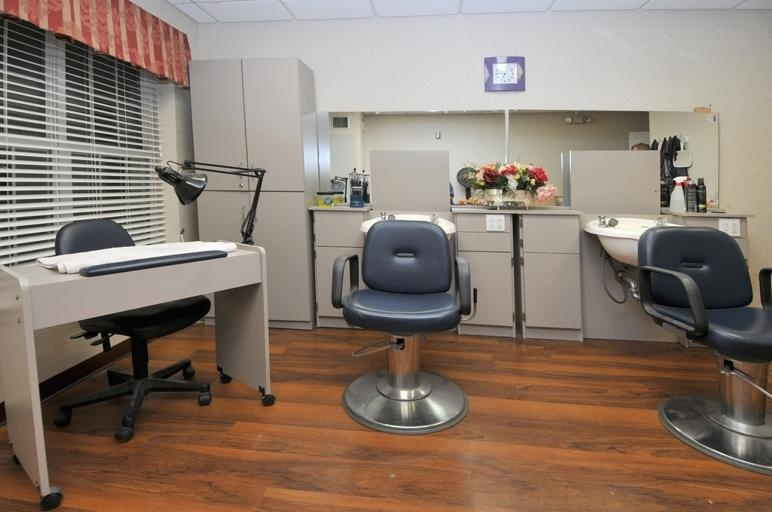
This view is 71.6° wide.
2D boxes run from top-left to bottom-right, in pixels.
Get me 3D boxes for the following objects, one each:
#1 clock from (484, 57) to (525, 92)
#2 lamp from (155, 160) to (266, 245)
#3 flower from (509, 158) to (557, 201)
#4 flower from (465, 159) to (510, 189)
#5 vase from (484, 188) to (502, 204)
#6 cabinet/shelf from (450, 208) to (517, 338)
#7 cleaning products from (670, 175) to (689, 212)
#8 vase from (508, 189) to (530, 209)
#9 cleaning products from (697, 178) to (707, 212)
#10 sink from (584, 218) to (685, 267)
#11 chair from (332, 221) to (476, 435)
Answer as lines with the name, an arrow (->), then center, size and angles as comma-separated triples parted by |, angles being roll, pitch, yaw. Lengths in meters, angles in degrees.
clock -> 1.059, -1.606, 4.710 | 0.330, 0.254, 0.054 | 0, 3, 2
lamp -> -1.388, -0.443, 4.324 | 1.004, 0.855, 0.341 | 1, 36, -17
flower -> 1.189, -0.607, 4.409 | 0.365, 0.338, 0.210 | 5, -7, 9
flower -> 0.880, -0.656, 4.466 | 0.264, 0.176, 0.260 | 1, -1, 23
vase -> 0.898, -0.500, 4.474 | 0.121, 0.085, 0.125 | 6, 7, 41
cabinet/shelf -> 0.700, 0.175, 4.627 | 0.629, 1.125, 0.781 | 6, -22, -12
cleaning products -> 2.370, -0.486, 4.326 | 0.110, 0.278, 0.223 | 5, 11, 27
vase -> 1.111, -0.465, 4.466 | 0.174, 0.164, 0.166 | 1, 3, 7
cleaning products -> 2.640, -0.509, 4.468 | 0.078, 0.257, 0.446 | 5, 11, 30
sink -> 1.785, -0.144, 3.916 | 0.459, 0.201, 0.543 | -1, 8, 8
chair -> 0.126, 0.403, 3.801 | 1.244, 1.439, 1.239 | 0, 5, 4
